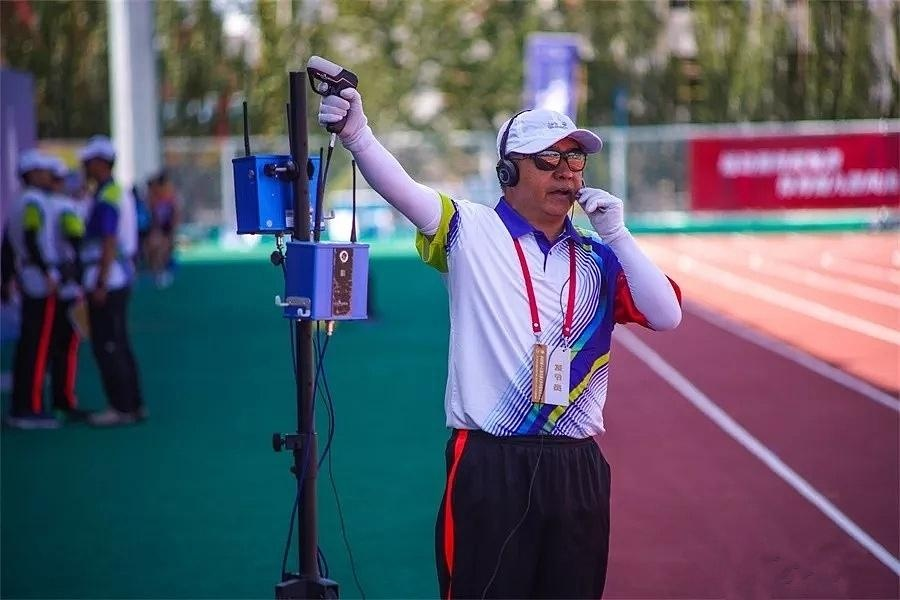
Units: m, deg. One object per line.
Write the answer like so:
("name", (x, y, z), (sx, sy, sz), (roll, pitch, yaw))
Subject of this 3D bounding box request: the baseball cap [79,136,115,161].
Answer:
("baseball cap", (-2.388, -0.999, 7.844), (0.219, 0.177, 0.114), (-4, 6, -25))

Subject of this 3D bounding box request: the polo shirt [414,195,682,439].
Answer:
("polo shirt", (0.372, 0.158, 6.558), (1.713, 1.610, 1.014), (10, -28, -8))

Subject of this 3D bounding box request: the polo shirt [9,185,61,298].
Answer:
("polo shirt", (-2.792, -0.384, 7.792), (0.308, 0.719, 0.176), (-4, 6, -41))

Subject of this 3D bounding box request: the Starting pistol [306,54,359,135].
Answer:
("Starting pistol", (-0.652, -1.111, 6.397), (0.263, 0.429, 0.348), (-2, 6, -9))
